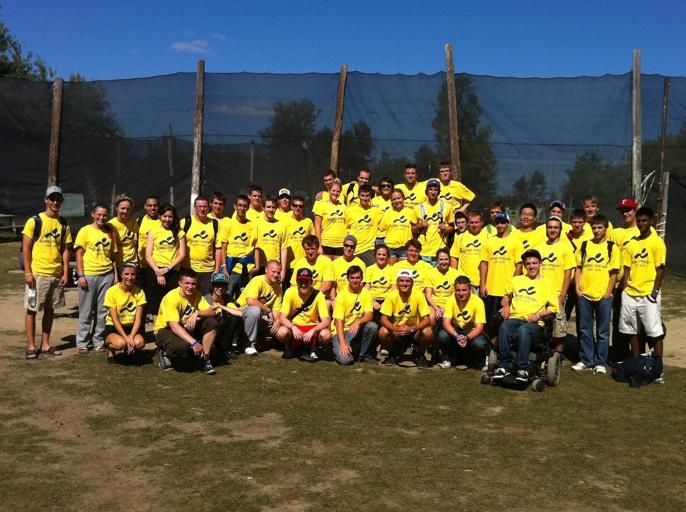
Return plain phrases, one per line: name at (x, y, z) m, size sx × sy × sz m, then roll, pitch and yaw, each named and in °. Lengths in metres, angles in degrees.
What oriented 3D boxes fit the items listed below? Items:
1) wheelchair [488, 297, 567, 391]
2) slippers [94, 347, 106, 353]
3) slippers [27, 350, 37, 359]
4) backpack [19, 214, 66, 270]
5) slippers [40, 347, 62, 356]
wheelchair at (2.511, 1.195, 9.860) m, size 0.858 × 1.052 × 0.921 m, roll 3°, pitch 3°, yaw 20°
slippers at (-3.547, 1.375, 10.732) m, size 0.115 × 0.064 × 0.083 m, roll 5°, pitch 2°, yaw 31°
slippers at (-4.345, 1.370, 10.202) m, size 0.153 × 0.109 × 0.135 m, roll -4°, pitch 15°, yaw -22°
backpack at (-4.155, -0.176, 10.286) m, size 0.630 × 0.855 × 0.373 m, roll -7°, pitch 16°, yaw -31°
slippers at (-4.148, 1.362, 10.434) m, size 0.230 × 0.080 × 0.118 m, roll 1°, pitch 5°, yaw 7°
